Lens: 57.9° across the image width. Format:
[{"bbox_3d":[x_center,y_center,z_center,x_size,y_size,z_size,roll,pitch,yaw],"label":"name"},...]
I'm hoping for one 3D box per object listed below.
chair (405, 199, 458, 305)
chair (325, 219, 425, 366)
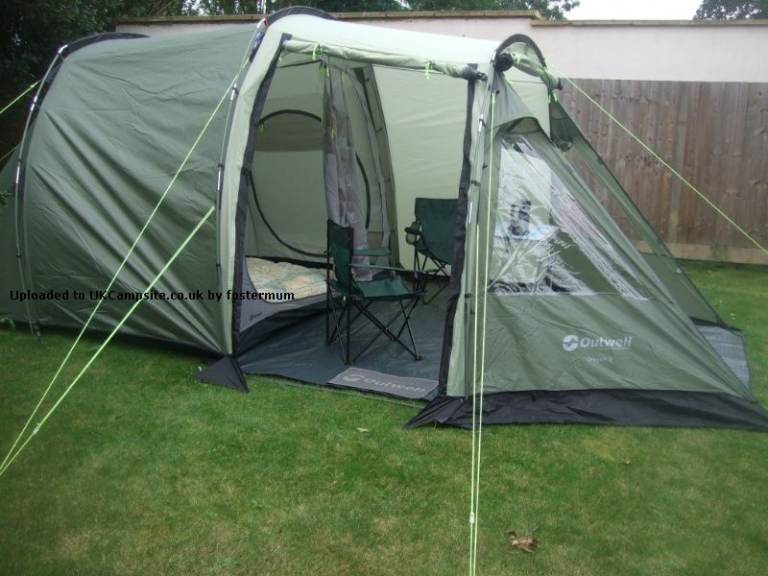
[{"bbox_3d":[0.427,-0.380,6.884,0.687,0.956,0.643,9,13,41],"label":"chair"},{"bbox_3d":[-0.075,0.023,5.750,0.688,1.135,0.821,-4,13,-19],"label":"chair"}]
